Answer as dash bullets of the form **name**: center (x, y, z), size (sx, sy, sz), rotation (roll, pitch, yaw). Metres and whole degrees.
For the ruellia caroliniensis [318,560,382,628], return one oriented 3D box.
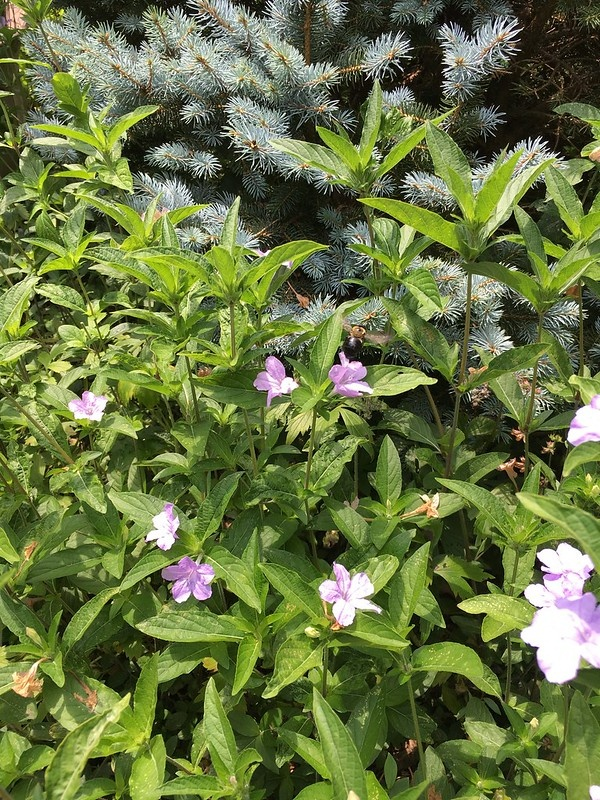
- **ruellia caroliniensis**: center (0.100, 0.427, 1.534), size (0.107, 0.102, 0.118), rotation (-17, 47, -15)

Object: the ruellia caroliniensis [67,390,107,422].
- **ruellia caroliniensis**: center (-0.662, 0.028, 2.193), size (0.104, 0.039, 0.096), rotation (18, 55, 9)

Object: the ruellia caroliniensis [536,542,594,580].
- **ruellia caroliniensis**: center (0.622, 0.381, 1.658), size (0.100, 0.040, 0.107), rotation (-46, 45, -9)

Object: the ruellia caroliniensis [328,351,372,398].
- **ruellia caroliniensis**: center (0.134, -0.068, 1.814), size (0.058, 0.111, 0.117), rotation (-6, 52, 50)
